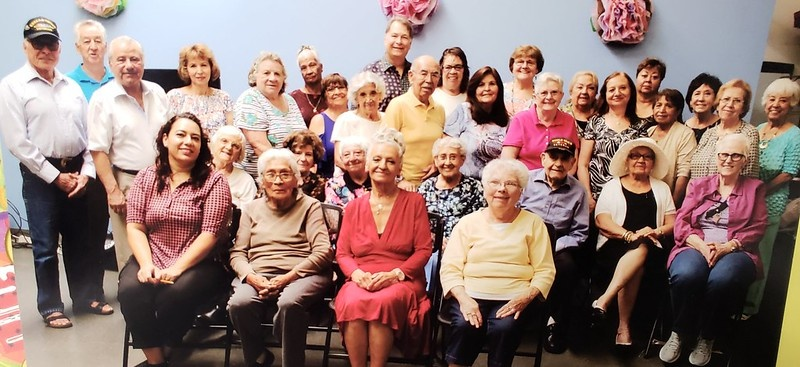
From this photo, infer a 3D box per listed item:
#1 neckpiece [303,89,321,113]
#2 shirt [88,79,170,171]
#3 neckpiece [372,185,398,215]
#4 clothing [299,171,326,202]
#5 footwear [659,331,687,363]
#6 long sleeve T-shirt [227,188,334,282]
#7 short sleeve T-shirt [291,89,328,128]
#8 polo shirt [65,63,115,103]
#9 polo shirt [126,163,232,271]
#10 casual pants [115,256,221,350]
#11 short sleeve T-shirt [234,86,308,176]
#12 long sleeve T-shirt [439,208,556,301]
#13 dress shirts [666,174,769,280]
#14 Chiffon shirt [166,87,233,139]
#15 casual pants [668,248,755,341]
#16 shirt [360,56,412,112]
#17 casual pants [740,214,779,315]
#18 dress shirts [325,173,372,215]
[{"bbox_3d":[-1.115,-1.052,6.961,0.368,0.266,0.173,-1,-5,-13],"label":"neckpiece"},{"bbox_3d":[-3.198,-0.673,6.488,0.632,0.912,1.176,4,9,44],"label":"shirt"},{"bbox_3d":[-0.171,0.180,6.044,0.308,0.332,0.354,6,-32,4],"label":"neckpiece"},{"bbox_3d":[-1.025,0.043,6.410,0.422,0.372,0.228,-2,-3,-9],"label":"clothing"},{"bbox_3d":[3.166,1.929,6.392,0.159,0.439,0.173,31,-32,11],"label":"footwear"},{"bbox_3d":[-1.362,0.605,6.196,1.323,0.897,0.761,-3,11,19],"label":"long sleeve T-shirt"},{"bbox_3d":[-1.133,-0.931,6.889,0.574,0.440,0.294,-5,7,-22],"label":"short sleeve T-shirt"},{"bbox_3d":[-3.808,-1.235,6.741,0.600,0.477,0.288,-6,12,-20],"label":"polo shirt"},{"bbox_3d":[-2.514,0.337,6.328,1.326,1.027,0.628,4,6,10],"label":"polo shirt"},{"bbox_3d":[-2.503,1.312,6.051,1.112,0.961,0.198,-1,2,0],"label":"casual pants"},{"bbox_3d":[-1.554,-0.599,6.547,1.177,1.102,0.719,-8,10,-41],"label":"short sleeve T-shirt"},{"bbox_3d":[1.070,0.808,6.432,1.852,1.220,0.949,0,-5,8],"label":"long sleeve T-shirt"},{"bbox_3d":[3.809,0.461,6.527,0.981,1.063,0.710,7,14,33],"label":"dress shirts"},{"bbox_3d":[-2.471,-0.881,6.891,0.825,0.653,0.414,-10,44,-24],"label":"Chiffon shirt"},{"bbox_3d":[3.560,1.307,6.352,0.778,1.102,0.435,9,5,10],"label":"casual pants"},{"bbox_3d":[-0.155,-1.210,6.777,0.844,0.734,0.446,-3,9,-19],"label":"shirt"},{"bbox_3d":[4.152,0.980,6.308,0.458,1.127,0.064,-2,2,-12],"label":"casual pants"},{"bbox_3d":[-0.634,0.098,6.427,0.811,0.337,0.249,-10,-6,-1],"label":"dress shirts"}]
